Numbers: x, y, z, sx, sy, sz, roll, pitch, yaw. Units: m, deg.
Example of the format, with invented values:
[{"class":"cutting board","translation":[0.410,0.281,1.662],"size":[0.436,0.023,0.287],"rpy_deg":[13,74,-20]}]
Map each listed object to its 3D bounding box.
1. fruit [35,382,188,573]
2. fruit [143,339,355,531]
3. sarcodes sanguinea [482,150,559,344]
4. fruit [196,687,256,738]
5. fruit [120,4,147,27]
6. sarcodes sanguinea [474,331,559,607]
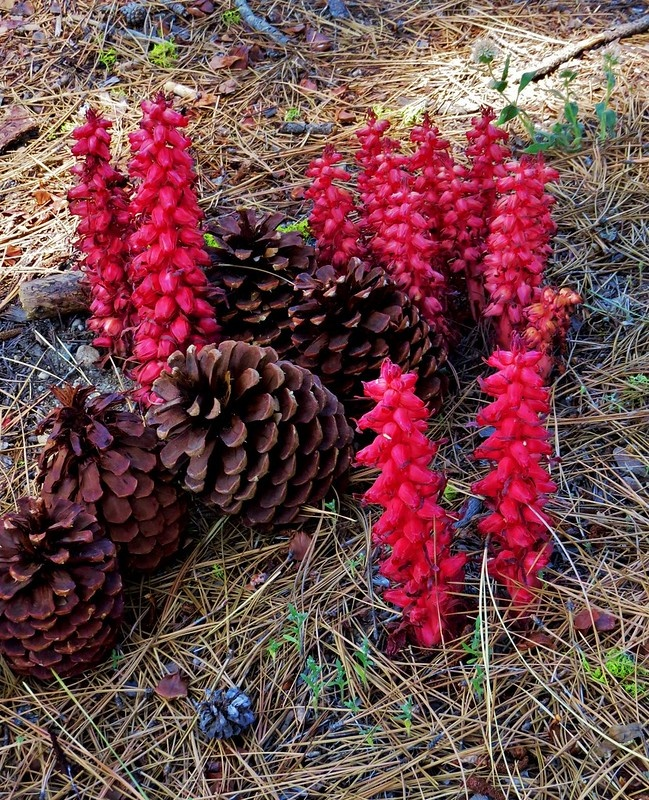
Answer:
[{"class":"fruit","translation":[-0.828,0.275,2.716],"size":[0.527,0.600,0.477],"rpy_deg":[11,25,35]},{"class":"fruit","translation":[-0.259,0.067,2.736],"size":[0.594,0.733,0.516],"rpy_deg":[7,59,56]},{"class":"sarcodes sanguinea","translation":[0.709,-0.509,2.826],"size":[0.222,0.830,0.264],"rpy_deg":[8,44,14]},{"class":"fruit","translation":[-0.289,0.914,2.254],"size":[0.177,0.080,0.152],"rpy_deg":[4,33,14]},{"class":"fruit","translation":[-1.171,-2.361,4.725],"size":[0.172,0.128,0.137],"rpy_deg":[9,30,29]},{"class":"sarcodes sanguinea","translation":[0.530,0.250,2.139],"size":[0.251,0.869,0.392],"rpy_deg":[8,43,14]}]
